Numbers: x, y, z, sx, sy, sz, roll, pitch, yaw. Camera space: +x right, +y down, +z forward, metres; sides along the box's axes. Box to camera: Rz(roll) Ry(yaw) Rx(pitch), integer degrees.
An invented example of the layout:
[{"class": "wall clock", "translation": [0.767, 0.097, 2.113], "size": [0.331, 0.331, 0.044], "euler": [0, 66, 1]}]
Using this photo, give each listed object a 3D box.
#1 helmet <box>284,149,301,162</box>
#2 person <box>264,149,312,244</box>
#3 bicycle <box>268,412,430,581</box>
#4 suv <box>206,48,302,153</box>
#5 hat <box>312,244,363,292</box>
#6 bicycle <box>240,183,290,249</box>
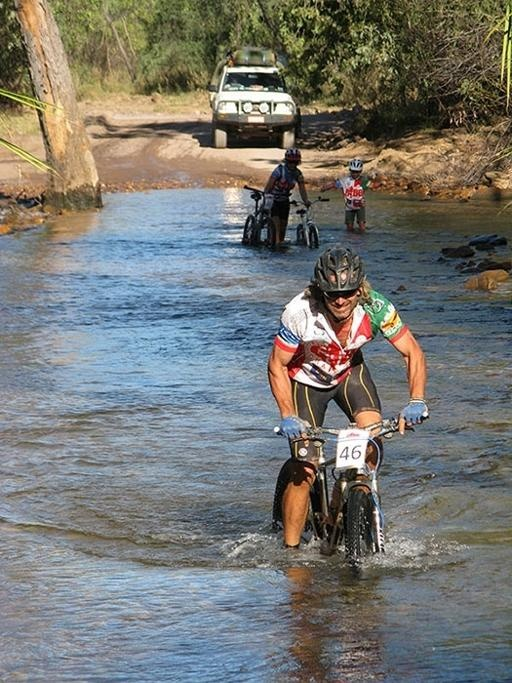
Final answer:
[{"class": "helmet", "translation": [0.603, -3.049, 17.159], "size": [0.223, 0.220, 0.278], "euler": [2, -14, -7]}, {"class": "person", "translation": [0.512, -2.437, 17.896], "size": [0.726, 1.679, 1.540], "euler": [-2, 13, 2]}, {"class": "bicycle", "translation": [0.360, 0.686, 4.759], "size": [0.512, 0.787, 0.653], "euler": [-3, 13, -4]}, {"class": "suv", "translation": [-0.114, -8.035, 34.967], "size": [2.727, 3.292, 3.714], "euler": [-2, 13, -1]}, {"class": "hat", "translation": [0.348, -0.292, 4.462], "size": [0.211, 0.194, 0.278], "euler": [-1, 12, 4]}, {"class": "bicycle", "translation": [0.048, -2.032, 18.286], "size": [0.706, 0.701, 1.228], "euler": [3, 3, -14]}]
